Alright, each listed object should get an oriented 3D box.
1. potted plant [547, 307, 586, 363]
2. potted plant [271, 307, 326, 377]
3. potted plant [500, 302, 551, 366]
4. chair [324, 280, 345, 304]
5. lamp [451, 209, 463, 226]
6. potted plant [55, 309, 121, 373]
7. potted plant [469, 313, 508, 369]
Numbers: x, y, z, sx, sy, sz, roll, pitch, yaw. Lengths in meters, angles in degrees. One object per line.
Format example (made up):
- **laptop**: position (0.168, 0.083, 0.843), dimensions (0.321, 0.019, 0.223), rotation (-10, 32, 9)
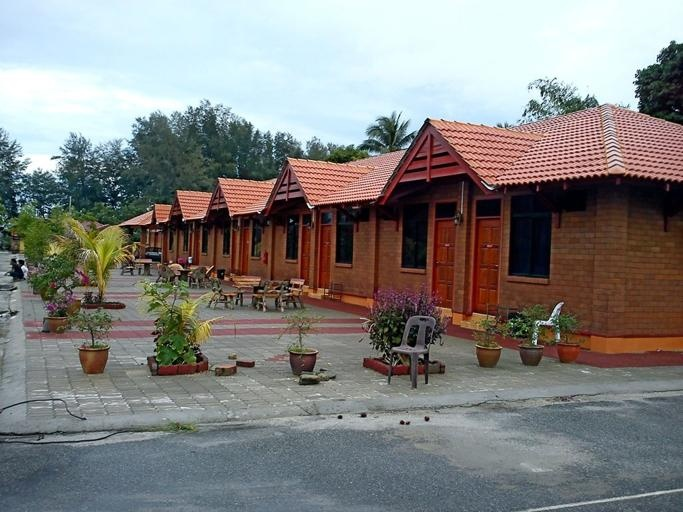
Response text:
- **potted plant**: position (4.898, 1.614, 11.268), dimensions (0.707, 1.292, 0.839), rotation (-2, -8, 7)
- **potted plant**: position (-0.778, 1.631, 9.809), dimensions (0.886, 1.111, 0.651), rotation (-2, -5, 27)
- **potted plant**: position (4.083, 1.715, 11.293), dimensions (0.991, 1.232, 1.010), rotation (-5, -11, 40)
- **chair**: position (-0.282, 1.501, 21.551), dimensions (0.892, 0.794, 0.387), rotation (-4, -7, 40)
- **lamp**: position (3.452, -1.168, 15.365), dimensions (0.173, 0.472, 0.250), rotation (2, -2, -26)
- **potted plant**: position (-4.381, 1.497, 9.044), dimensions (0.667, 1.055, 0.908), rotation (-8, -13, 25)
- **potted plant**: position (2.948, 1.786, 10.709), dimensions (0.840, 0.931, 0.689), rotation (0, -10, 6)
